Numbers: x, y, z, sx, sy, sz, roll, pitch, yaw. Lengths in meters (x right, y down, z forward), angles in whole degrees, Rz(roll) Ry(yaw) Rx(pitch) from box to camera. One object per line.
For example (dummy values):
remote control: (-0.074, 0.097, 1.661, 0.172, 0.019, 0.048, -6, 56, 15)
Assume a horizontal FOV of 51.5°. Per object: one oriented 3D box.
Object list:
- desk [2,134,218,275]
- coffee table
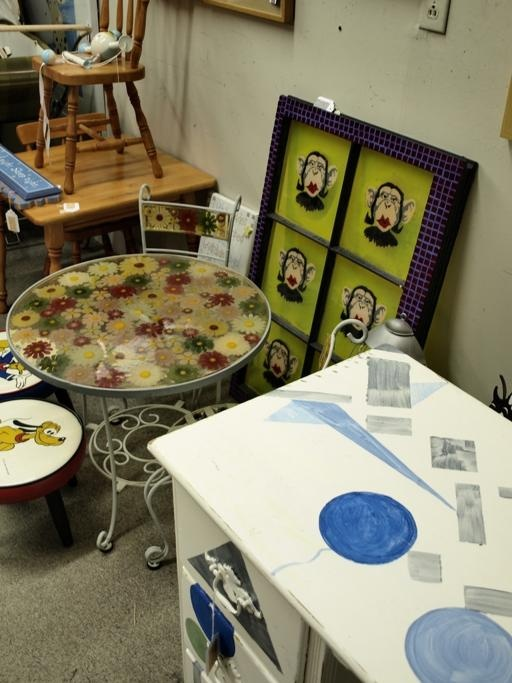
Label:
desk: (-0.678, -0.772, 2.567, 0.804, 0.580, 0.791, -24, 60, -27)
coffee table: (-0.348, 0.149, 2.216, 0.969, 0.960, 1.114, 4, 42, 1)
